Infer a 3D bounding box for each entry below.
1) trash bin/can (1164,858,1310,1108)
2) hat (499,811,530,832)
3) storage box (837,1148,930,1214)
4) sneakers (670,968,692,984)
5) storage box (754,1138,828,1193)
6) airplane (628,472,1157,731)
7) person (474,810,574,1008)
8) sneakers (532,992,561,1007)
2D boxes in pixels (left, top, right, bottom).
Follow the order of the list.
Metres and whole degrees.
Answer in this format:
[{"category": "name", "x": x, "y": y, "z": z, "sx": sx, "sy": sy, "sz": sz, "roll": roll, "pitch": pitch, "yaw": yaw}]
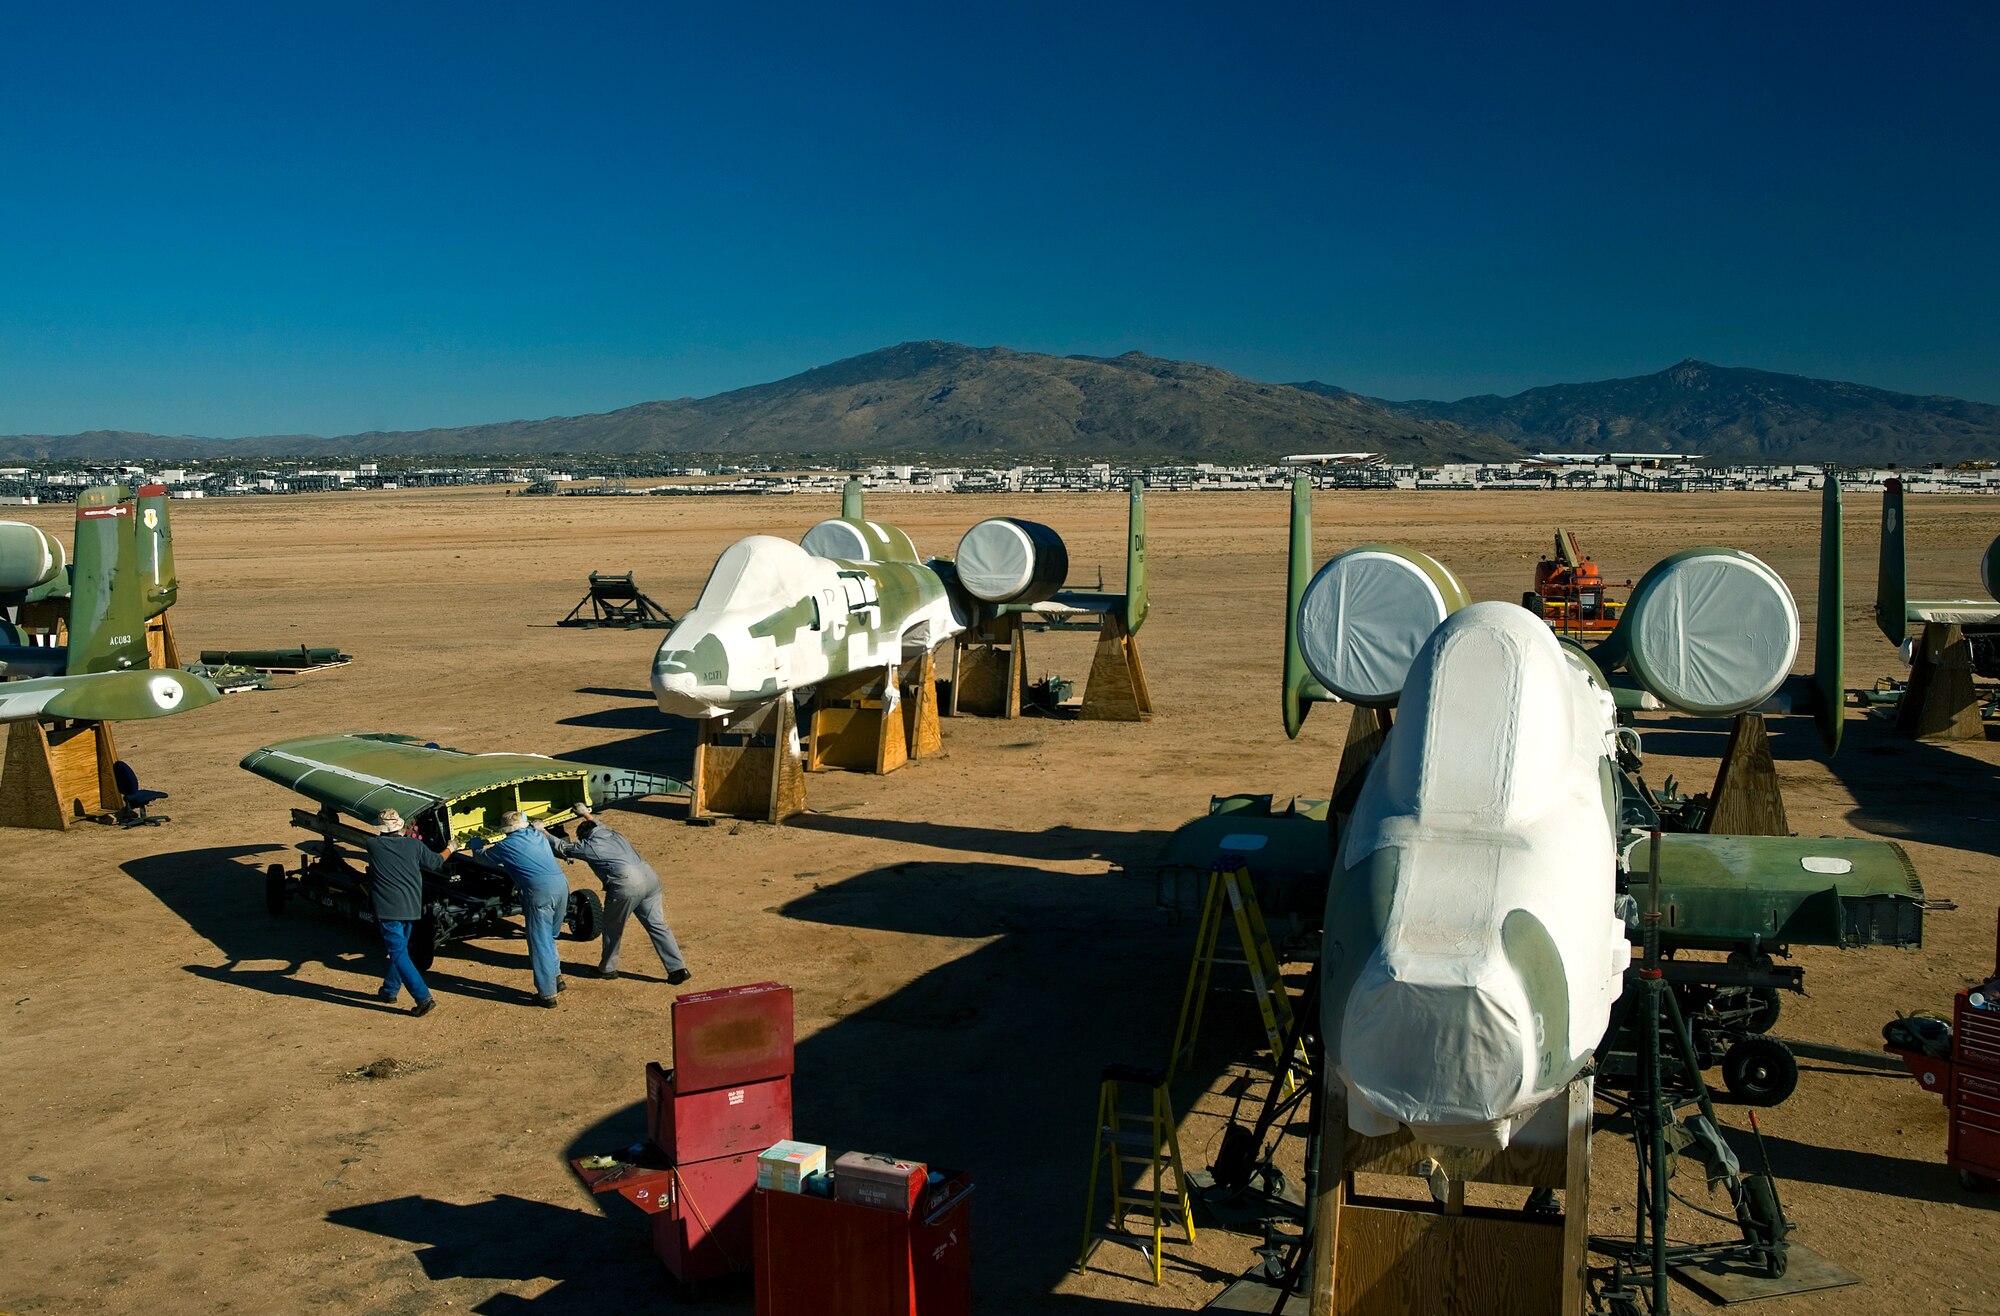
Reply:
[{"category": "trash bin/can", "x": 2.523, "y": 3.428, "z": 16.271, "sx": 1.556, "sy": 2.158, "sz": 1.704, "roll": -4, "pitch": -5, "yaw": 14}, {"category": "hat", "x": -6.606, "y": 2.221, "z": 20.210, "sx": 0.246, "sy": 0.149, "sz": 0.166, "roll": -33, "pitch": -8, "yaw": 30}, {"category": "storage box", "x": -0.959, "y": 4.386, "z": 12.642, "sx": 0.761, "sy": 0.481, "sz": 0.425, "roll": 9, "pitch": 18, "yaw": 19}, {"category": "sneakers", "x": -4.087, "y": 4.015, "z": 18.905, "sx": 0.287, "sy": 0.200, "sz": 0.215, "roll": 0, "pitch": 4, "yaw": 1}, {"category": "storage box", "x": -1.807, "y": 4.406, "z": 12.946, "sx": 0.597, "sy": 0.294, "sz": 0.408, "roll": 1, "pitch": 7, "yaw": 18}, {"category": "airplane", "x": -2.167, "y": -0.928, "z": 29.721, "sx": 5.461, "sy": 5.395, "sz": 12.030, "roll": 3, "pitch": 8, "yaw": 31}, {"category": "person", "x": -5.818, "y": 3.180, "z": 18.565, "sx": 0.854, "sy": 2.168, "sz": 0.818, "roll": -4, "pitch": 8, "yaw": -16}, {"category": "sneakers", "x": -5.616, "y": 4.223, "z": 18.488, "sx": 0.135, "sy": 0.143, "sz": 0.349, "roll": 2, "pitch": -5, "yaw": -34}]
